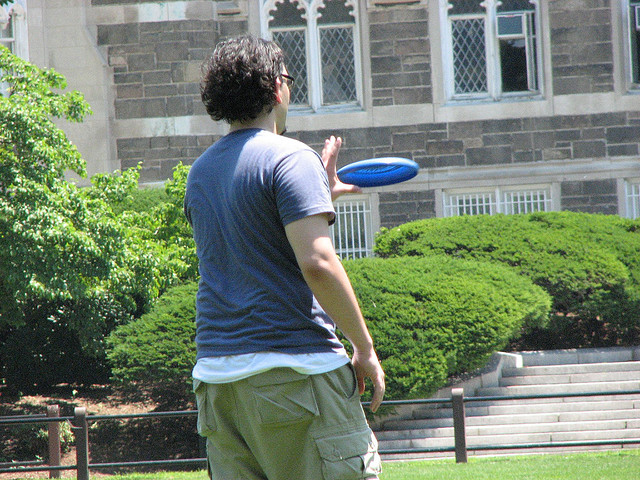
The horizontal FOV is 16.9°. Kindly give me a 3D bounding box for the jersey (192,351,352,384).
[{"bbox_3d":[-0.831,1.962,34.113,2.350,0.500,0.279,-4,0,-3],"label":"jersey"}]
